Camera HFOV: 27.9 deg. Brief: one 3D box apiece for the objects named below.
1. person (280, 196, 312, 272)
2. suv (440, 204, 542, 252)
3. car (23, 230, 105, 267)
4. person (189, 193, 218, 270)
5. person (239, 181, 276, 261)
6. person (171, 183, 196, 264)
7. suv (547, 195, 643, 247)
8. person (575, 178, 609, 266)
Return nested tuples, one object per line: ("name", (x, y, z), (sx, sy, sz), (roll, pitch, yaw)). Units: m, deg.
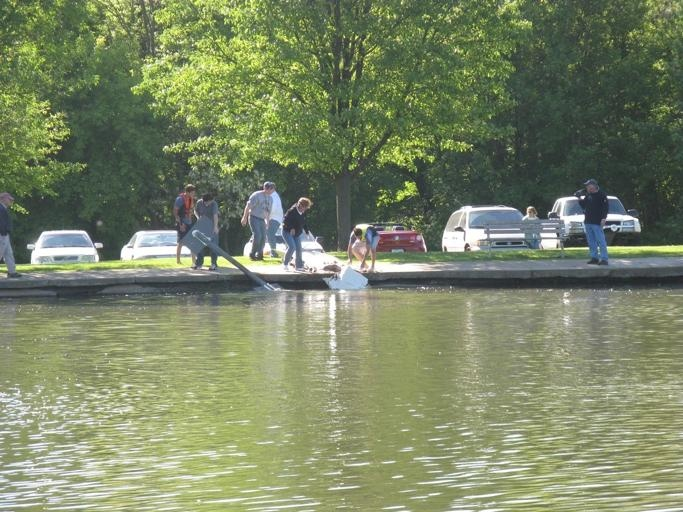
("person", (-0.946, -0.495, 31.993), (0.631, 1.634, 0.659), (2, 6, -31))
("suv", (4.197, -0.740, 39.519), (1.984, 1.387, 3.159), (-3, 9, -15))
("car", (-8.060, -0.252, 40.375), (1.873, 1.116, 3.087), (-1, -3, -10))
("person", (-3.121, -0.585, 32.516), (0.632, 1.796, 0.943), (2, 2, -42))
("person", (-1.991, -0.870, 34.192), (0.858, 1.875, 0.560), (2, 2, -42))
("person", (-3.754, -0.822, 32.897), (0.588, 2.052, 0.463), (-4, 5, -29))
("suv", (7.795, -0.976, 42.059), (2.637, 1.757, 2.740), (1, 2, 6))
("person", (5.975, -0.807, 32.689), (0.674, 2.100, 1.411), (-2, -3, 9))
